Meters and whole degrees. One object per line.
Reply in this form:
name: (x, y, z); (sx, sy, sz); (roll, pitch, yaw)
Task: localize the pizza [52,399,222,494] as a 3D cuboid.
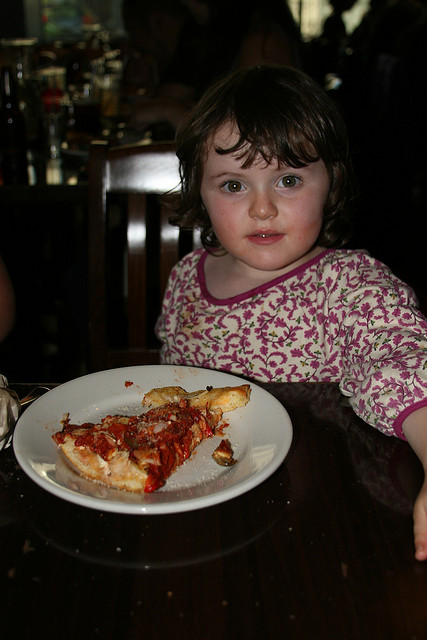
pizza: (-0.087, 0.129, 0.641); (0.139, 0.038, 0.181); (8, 20, 23)
